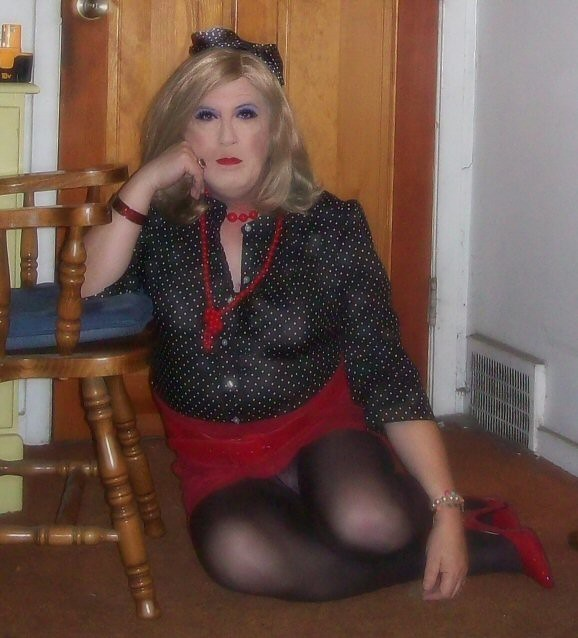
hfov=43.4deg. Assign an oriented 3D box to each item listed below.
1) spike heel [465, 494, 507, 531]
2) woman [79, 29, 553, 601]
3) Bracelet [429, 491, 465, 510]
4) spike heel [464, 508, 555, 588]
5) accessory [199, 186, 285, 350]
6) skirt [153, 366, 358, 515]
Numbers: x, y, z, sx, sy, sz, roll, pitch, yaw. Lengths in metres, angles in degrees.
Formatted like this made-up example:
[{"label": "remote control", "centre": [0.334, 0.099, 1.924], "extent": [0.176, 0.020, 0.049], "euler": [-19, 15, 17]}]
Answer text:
[{"label": "spike heel", "centre": [0.361, 0.362, 1.353], "extent": [0.053, 0.019, 0.071], "euler": [1, 4, -1]}, {"label": "woman", "centre": [0.040, -0.017, 1.239], "extent": [0.857, 0.931, 0.511], "euler": [7, 18, 32]}, {"label": "Bracelet", "centre": [0.251, 0.278, 1.129], "extent": [0.031, 0.015, 0.035], "euler": [-1, -2, -2]}, {"label": "spike heel", "centre": [0.386, 0.386, 1.331], "extent": [0.083, 0.061, 0.192], "euler": [-17, 34, -26]}, {"label": "accessory", "centre": [-0.084, -0.071, 1.264], "extent": [0.150, 0.224, 0.132], "euler": [-1, 10, -5]}, {"label": "skirt", "centre": [-0.086, 0.193, 1.459], "extent": [0.379, 0.277, 0.501], "euler": [-9, 9, -5]}]
